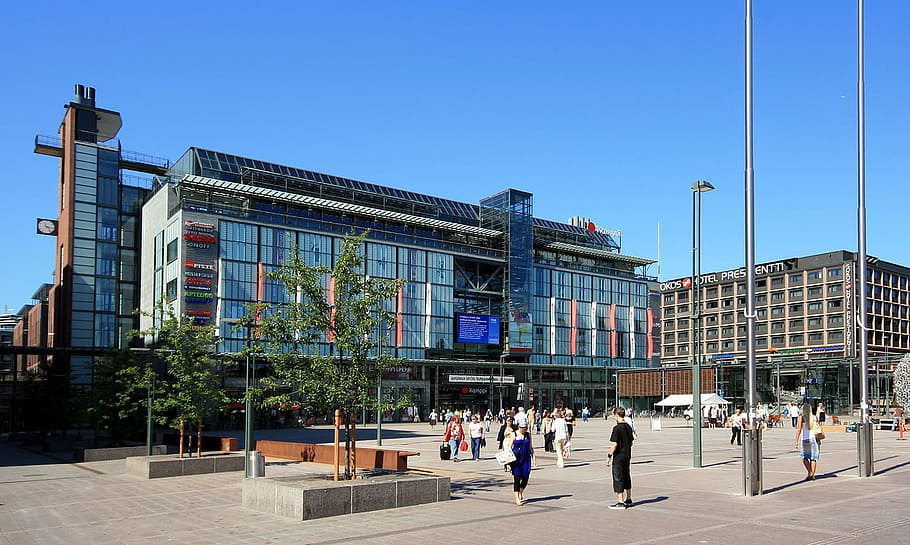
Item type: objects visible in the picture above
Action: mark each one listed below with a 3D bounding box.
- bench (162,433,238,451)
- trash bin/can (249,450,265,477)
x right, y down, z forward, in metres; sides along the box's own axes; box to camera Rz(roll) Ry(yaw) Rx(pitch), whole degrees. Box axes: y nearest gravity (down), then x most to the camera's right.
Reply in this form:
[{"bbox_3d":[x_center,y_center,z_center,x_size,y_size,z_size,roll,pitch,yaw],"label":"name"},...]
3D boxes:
[{"bbox_3d":[-16.428,11.268,60.561,8.552,1.243,1.732,-7,-12,44],"label":"bench"},{"bbox_3d":[-10.608,10.174,49.290,0.771,1.320,3.660,3,-12,-13],"label":"trash bin/can"}]
